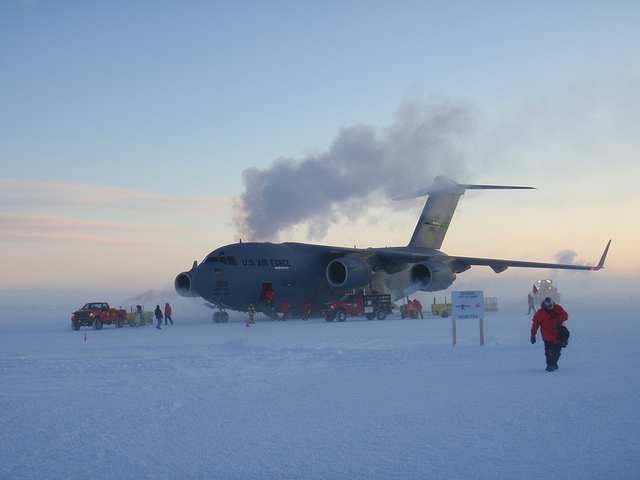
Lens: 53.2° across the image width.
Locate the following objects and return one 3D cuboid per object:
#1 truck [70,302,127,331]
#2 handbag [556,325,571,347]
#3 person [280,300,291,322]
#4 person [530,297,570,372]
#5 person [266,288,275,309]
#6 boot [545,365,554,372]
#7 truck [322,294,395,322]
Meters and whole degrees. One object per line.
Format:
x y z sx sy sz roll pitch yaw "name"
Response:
-11.061 3.881 31.849 2.409 1.109 1.240 5 -3 -25 "truck"
5.554 2.191 14.594 0.239 0.469 0.968 3 -3 24 "handbag"
-1.873 3.923 35.024 0.393 1.158 1.079 4 -2 0 "person"
5.158 2.105 14.333 0.763 1.572 0.936 3 -3 19 "person"
-2.683 3.205 34.489 0.326 1.142 0.727 3 -2 9 "person"
5.010 2.804 13.876 0.142 0.128 0.102 3 -2 14 "boot"
1.837 3.753 34.288 3.909 1.491 1.393 7 -11 -38 "truck"
